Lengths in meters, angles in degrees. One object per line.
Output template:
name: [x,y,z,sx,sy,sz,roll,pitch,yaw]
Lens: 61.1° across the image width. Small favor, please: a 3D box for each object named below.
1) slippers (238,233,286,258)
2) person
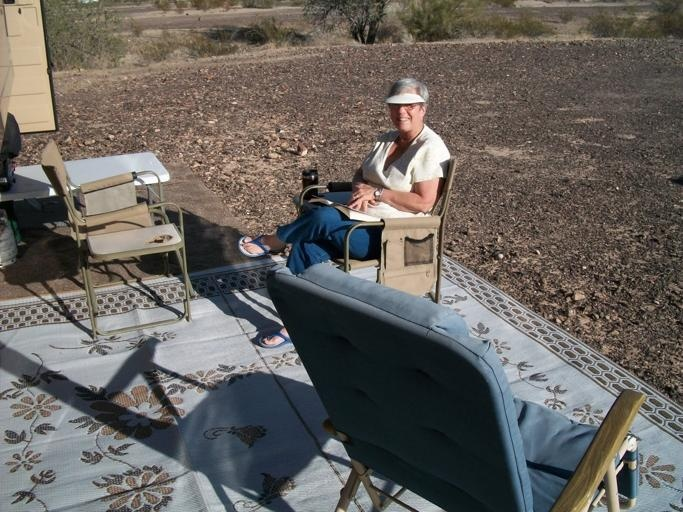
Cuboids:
slippers: [-0.641,-0.082,4.690,0.368,0.091,0.182,3,43,-5]
person: [0.107,-0.130,4.340,1.040,1.185,1.030,-18,27,-36]
